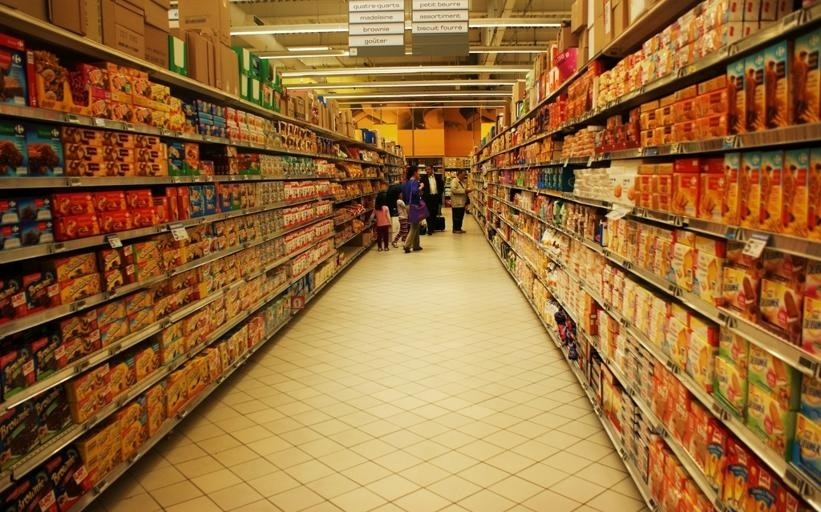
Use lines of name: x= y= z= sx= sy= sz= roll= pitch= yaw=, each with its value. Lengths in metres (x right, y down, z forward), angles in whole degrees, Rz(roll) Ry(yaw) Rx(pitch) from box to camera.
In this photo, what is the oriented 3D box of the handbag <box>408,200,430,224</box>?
handbag: x=0.190 y=-1.130 z=12.275 sx=0.719 sy=0.556 sz=0.334 roll=-10 pitch=33 yaw=-6
